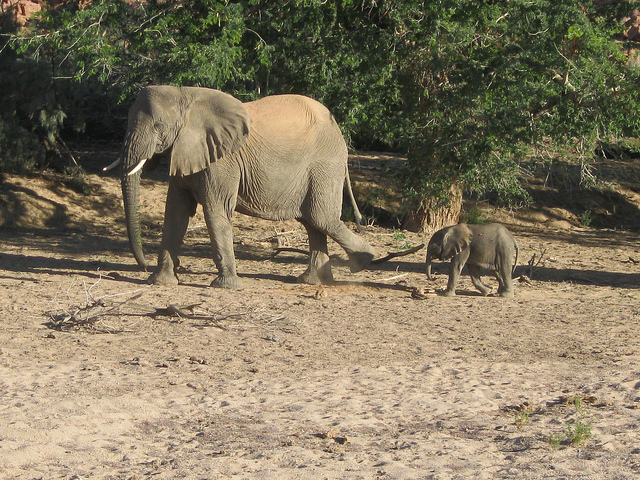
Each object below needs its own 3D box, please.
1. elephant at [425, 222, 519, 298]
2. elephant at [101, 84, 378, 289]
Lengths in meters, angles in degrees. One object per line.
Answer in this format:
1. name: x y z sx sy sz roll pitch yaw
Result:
1. elephant: 2.253 0.319 16.114 1.464 1.057 0.635 2 -6 15
2. elephant: -1.180 -0.754 16.077 3.624 2.905 1.277 -1 8 -35
